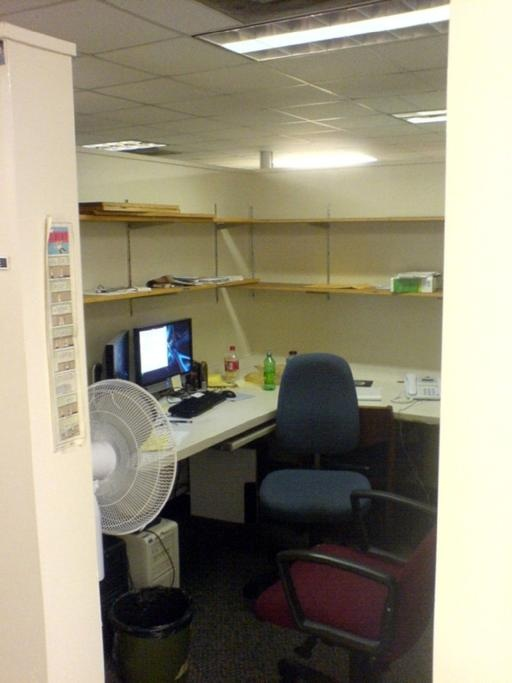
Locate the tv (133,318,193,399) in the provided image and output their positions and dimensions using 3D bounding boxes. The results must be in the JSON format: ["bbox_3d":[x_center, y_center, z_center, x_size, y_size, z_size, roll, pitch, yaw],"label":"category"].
[{"bbox_3d":[-0.518,0.092,3.180,0.077,0.292,0.432,2,10,18],"label":"tv"}]

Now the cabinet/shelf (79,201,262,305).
[{"bbox_3d":[-0.488,-0.512,3.301,0.279,0.440,1.550,3,10,26],"label":"cabinet/shelf"}]

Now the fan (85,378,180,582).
[{"bbox_3d":[-0.353,0.333,1.671,0.238,0.434,0.184,-3,10,-11],"label":"fan"}]

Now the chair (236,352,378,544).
[{"bbox_3d":[0.280,0.565,2.656,0.510,0.901,0.588,2,13,21],"label":"chair"}]

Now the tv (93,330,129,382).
[{"bbox_3d":[-0.715,0.076,2.837,0.095,0.197,0.220,8,14,7],"label":"tv"}]

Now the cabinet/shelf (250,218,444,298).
[{"bbox_3d":[0.648,-0.555,3.808,1.140,0.467,0.267,5,11,31],"label":"cabinet/shelf"}]

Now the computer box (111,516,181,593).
[{"bbox_3d":[-0.479,0.952,2.497,0.207,0.326,0.202,5,7,33],"label":"computer box"}]

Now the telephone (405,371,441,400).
[{"bbox_3d":[0.954,0.257,3.378,0.170,0.080,0.214,1,16,11],"label":"telephone"}]
